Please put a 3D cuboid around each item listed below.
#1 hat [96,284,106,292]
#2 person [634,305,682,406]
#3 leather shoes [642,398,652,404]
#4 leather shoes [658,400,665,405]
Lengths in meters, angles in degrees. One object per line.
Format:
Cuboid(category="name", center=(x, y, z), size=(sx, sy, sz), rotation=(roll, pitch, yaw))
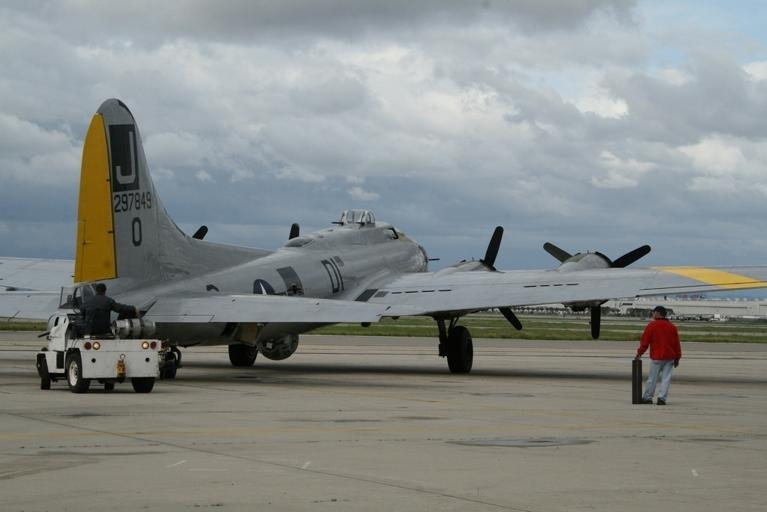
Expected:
Cuboid(category="hat", center=(-6.057, 0.703, 18.939), size=(0.230, 0.209, 0.254), rotation=(1, 4, -6))
Cuboid(category="person", center=(5.789, 2.065, 18.490), size=(0.756, 1.992, 1.139), rotation=(0, -2, 30))
Cuboid(category="leather shoes", center=(5.451, 2.980, 18.101), size=(0.250, 0.115, 0.103), rotation=(1, -2, -13))
Cuboid(category="leather shoes", center=(5.736, 3.002, 18.079), size=(0.173, 0.097, 0.231), rotation=(1, -1, 12))
